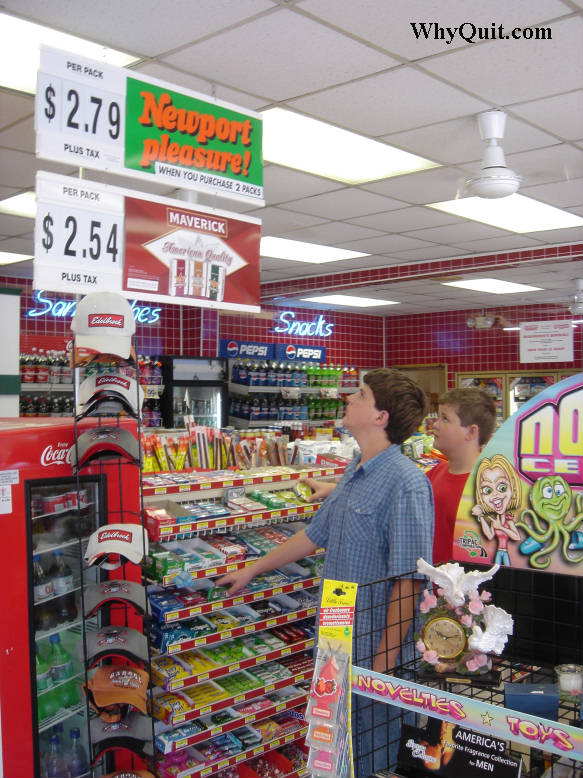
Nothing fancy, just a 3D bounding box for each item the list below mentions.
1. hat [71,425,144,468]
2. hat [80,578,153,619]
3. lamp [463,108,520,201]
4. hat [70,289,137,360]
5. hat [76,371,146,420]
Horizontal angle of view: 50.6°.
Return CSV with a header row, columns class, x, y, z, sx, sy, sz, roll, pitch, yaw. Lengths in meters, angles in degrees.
class,x,y,z,sx,sy,sz,roll,pitch,yaw
hat,-0.639,0.204,2.128,0.266,0.132,0.093,0,0,6
hat,-0.605,0.715,2.105,0.208,0.082,0.140,0,0,-13
lamp,1.139,-1.306,3.530,0.316,0.507,0.522,0,0,16
hat,-0.635,-0.216,2.070,0.197,0.242,0.218,0,0,-19
hat,-0.631,0.026,2.138,0.246,0.149,0.170,0,0,-25
